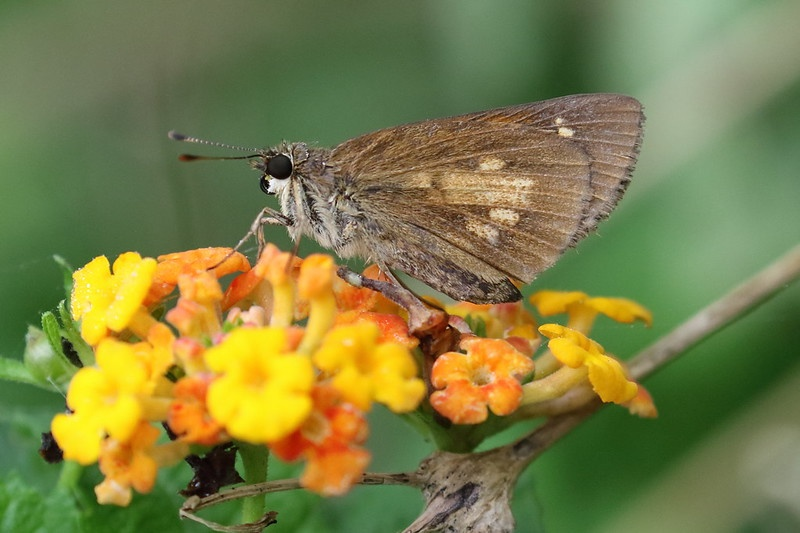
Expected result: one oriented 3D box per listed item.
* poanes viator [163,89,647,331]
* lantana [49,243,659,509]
[{"bbox_3d":[0.017,-0.196,2.443,1.321,0.580,0.785,9,84,-3],"label":"poanes viator"},{"bbox_3d":[-0.193,0.295,2.089,1.068,0.945,0.740,0,99,-6],"label":"lantana"}]
